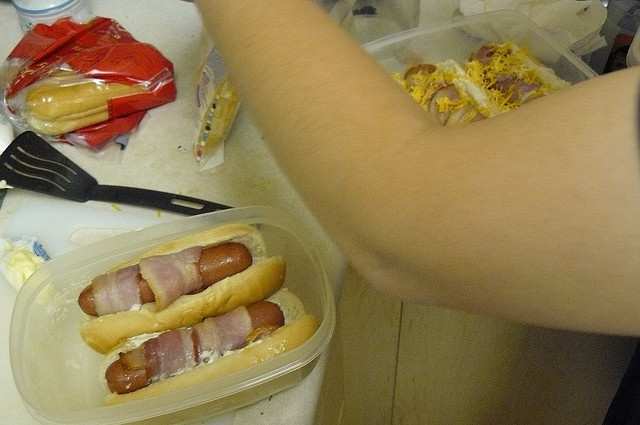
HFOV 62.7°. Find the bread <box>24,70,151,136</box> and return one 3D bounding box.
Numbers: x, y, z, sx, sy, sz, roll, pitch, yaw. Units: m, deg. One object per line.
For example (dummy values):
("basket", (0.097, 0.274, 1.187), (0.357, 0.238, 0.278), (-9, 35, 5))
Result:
("bread", (-0.571, -0.258, 1.287), (0.223, 0.086, 0.125), (-18, 87, -8))

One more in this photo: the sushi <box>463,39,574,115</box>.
("sushi", (0.427, -0.311, 1.186), (0.234, 0.077, 0.190), (-26, 61, -2))

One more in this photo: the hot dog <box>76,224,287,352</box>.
("hot dog", (-0.262, 0.150, 1.091), (0.389, 0.156, 0.192), (-18, 63, -15))
